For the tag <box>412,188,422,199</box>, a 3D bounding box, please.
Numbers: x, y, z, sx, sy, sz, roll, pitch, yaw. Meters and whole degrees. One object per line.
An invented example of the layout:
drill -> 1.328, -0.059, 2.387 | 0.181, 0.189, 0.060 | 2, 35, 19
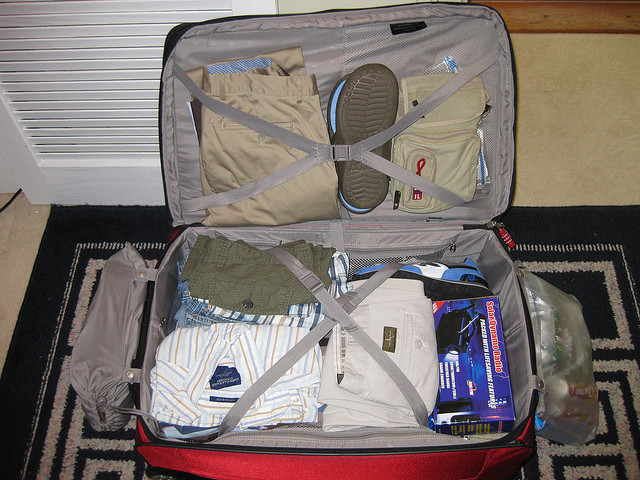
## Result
tag -> 0.346, -0.169, 2.024 | 0.035, 0.052, 0.005 | -2, 34, 0
